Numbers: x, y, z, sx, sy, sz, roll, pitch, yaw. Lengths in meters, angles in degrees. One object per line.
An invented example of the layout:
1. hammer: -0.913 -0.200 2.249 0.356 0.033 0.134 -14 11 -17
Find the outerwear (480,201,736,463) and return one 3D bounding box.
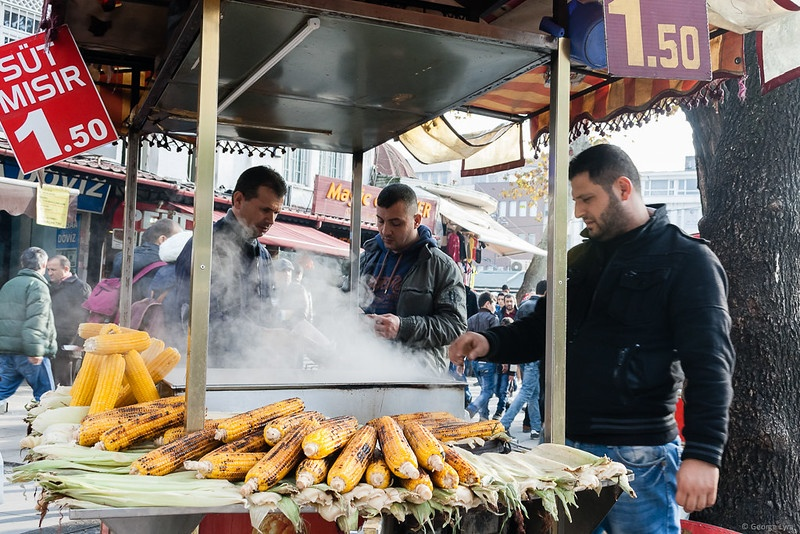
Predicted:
1. outerwear: 1.320 0.412 5.397 0.959 1.661 1.884 10 -5 -43

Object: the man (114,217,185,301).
1. man: -2.621 -0.080 9.280 0.854 0.522 0.848 -8 26 -26

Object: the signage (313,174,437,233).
1. signage: -0.455 -1.183 16.036 3.268 0.806 0.229 14 11 39

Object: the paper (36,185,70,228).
1. paper: -4.037 -0.711 9.575 0.126 0.459 0.448 11 1 39

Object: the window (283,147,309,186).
1. window: -2.362 -2.335 19.759 0.055 0.967 0.932 -1 11 -28

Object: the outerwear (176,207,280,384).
1. outerwear: -1.175 0.229 5.678 0.611 1.146 0.840 -15 -23 28

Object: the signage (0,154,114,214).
1. signage: -4.351 -1.060 10.378 1.052 0.238 0.952 10 -5 -35

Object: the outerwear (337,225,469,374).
1. outerwear: -0.022 0.326 6.494 1.091 1.349 0.818 3 -4 26
